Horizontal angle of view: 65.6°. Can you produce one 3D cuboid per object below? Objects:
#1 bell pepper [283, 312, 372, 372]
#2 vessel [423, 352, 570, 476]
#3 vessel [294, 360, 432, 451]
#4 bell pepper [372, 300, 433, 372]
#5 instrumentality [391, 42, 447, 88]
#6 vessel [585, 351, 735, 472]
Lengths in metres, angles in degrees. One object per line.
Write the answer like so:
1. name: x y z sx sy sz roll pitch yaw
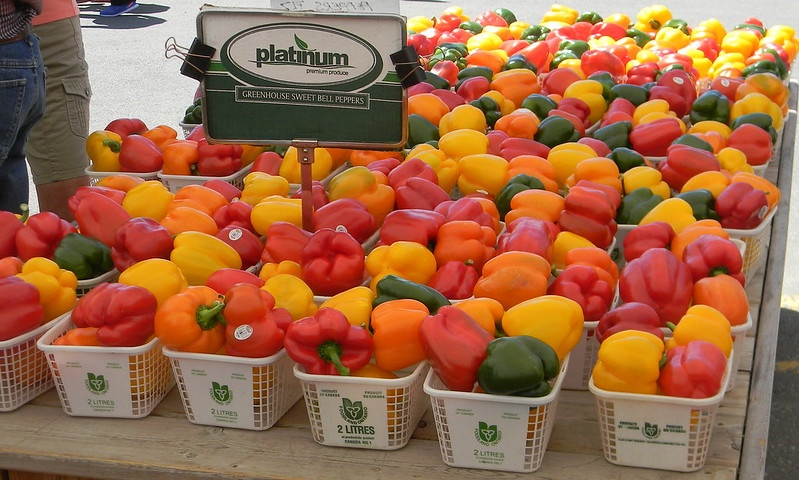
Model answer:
1. bell pepper: -0.339 0.477 3.075 0.352 0.297 0.342 12 4 -1
2. vessel: 0.437 0.795 2.824 0.609 0.320 0.713 0 2 11
3. vessel: -0.187 0.780 3.007 0.640 0.368 0.267 1 17 3
4. bell pepper: 0.010 0.486 3.050 0.267 0.188 0.201 21 29 15
5. instrumentality: 0.093 -0.984 3.538 0.253 0.241 0.151 14 22 37
6. vessel: 1.227 0.802 2.881 0.542 0.245 0.425 0 13 17
